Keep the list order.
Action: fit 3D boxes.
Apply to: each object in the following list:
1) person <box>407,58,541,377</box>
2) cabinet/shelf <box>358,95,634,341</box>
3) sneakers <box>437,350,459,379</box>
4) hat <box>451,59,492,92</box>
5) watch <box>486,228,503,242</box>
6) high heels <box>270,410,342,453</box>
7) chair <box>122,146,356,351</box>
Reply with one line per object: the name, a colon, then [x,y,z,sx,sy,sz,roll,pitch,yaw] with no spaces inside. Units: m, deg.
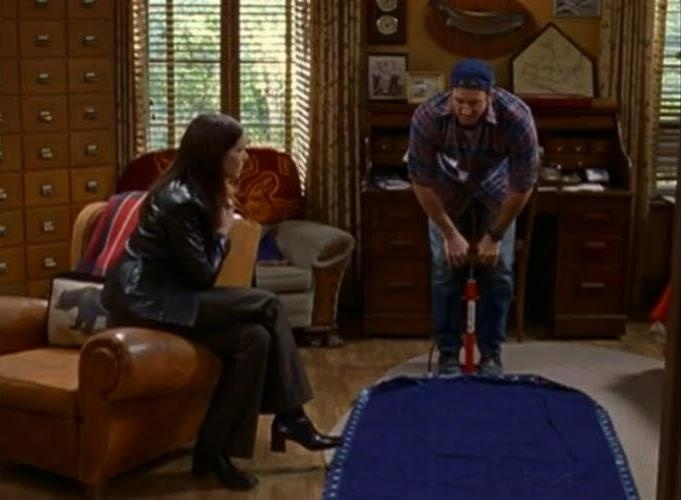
person: [0.683,-0.166,3.825,0.675,1.627,0.364,1,10,17]
cabinet/shelf: [0.945,-0.173,4.341,1.302,1.510,0.551,0,7,3]
sneakers: [0.577,0.617,3.897,0.093,0.120,0.259,0,-4,6]
hat: [0.638,-0.858,3.543,0.151,0.110,0.168,10,25,10]
watch: [0.803,-0.079,3.772,0.049,0.060,0.065,0,0,5]
high heels: [-0.178,0.757,3.091,0.343,0.224,0.130,0,1,-7]
chair: [-0.626,-0.058,4.989,1.274,1.680,1.329,0,1,-4]
